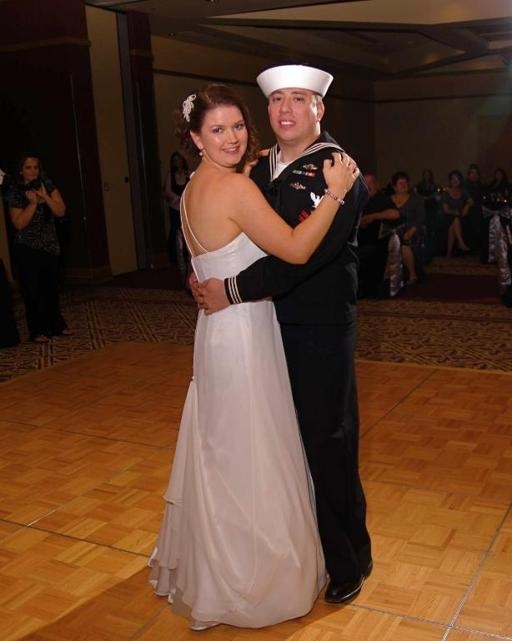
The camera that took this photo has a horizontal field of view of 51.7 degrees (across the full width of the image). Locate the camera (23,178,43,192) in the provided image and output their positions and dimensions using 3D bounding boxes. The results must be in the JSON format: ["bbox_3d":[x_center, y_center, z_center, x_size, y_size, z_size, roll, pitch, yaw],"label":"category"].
[{"bbox_3d":[-2.034,-1.239,4.839,0.098,0.110,0.132,32,-16,-29],"label":"camera"}]

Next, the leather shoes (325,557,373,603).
[{"bbox_3d":[0.260,0.756,1.522,0.065,0.080,0.209,-30,-20,31],"label":"leather shoes"}]

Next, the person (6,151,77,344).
[{"bbox_3d":[-2.053,-0.657,5.066,0.500,1.727,0.389,-9,13,-22],"label":"person"}]

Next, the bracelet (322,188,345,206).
[{"bbox_3d":[0.174,-0.264,1.168,0.042,0.011,0.041,30,8,-44],"label":"bracelet"}]

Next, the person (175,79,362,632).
[{"bbox_3d":[-0.026,0.127,1.339,0.567,1.362,0.331,-7,12,-13],"label":"person"}]
